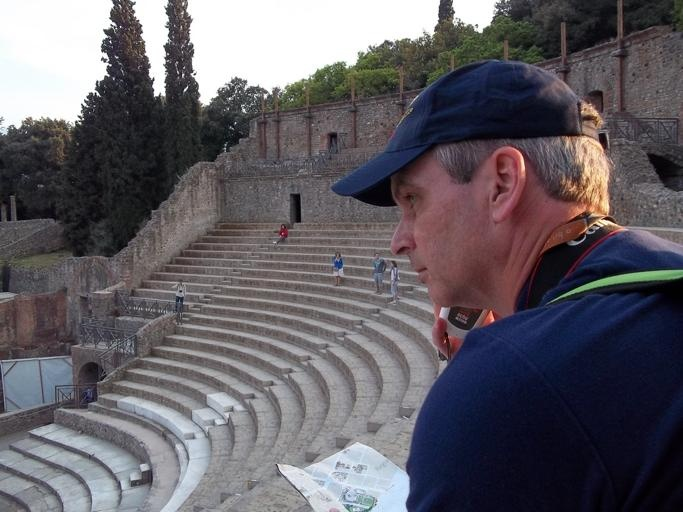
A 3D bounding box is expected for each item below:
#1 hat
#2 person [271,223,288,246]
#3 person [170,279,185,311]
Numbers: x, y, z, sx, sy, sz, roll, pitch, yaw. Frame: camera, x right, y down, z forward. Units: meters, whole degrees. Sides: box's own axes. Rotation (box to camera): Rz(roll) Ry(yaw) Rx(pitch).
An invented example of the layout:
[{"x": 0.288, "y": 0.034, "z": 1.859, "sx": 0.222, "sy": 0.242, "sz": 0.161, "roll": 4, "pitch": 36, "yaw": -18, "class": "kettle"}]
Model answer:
[{"x": 0.310, "y": -0.268, "z": 1.472, "sx": 0.529, "sy": 0.289, "sz": 0.345, "roll": 1, "pitch": 4, "yaw": 8, "class": "hat"}, {"x": -2.242, "y": -0.754, "z": 22.592, "sx": 0.422, "sy": 0.745, "sz": 0.841, "roll": 3, "pitch": 3, "yaw": 11, "class": "person"}, {"x": -4.691, "y": 1.166, "z": 18.171, "sx": 0.288, "sy": 1.001, "sz": 0.685, "roll": -2, "pitch": 8, "yaw": -19, "class": "person"}]
